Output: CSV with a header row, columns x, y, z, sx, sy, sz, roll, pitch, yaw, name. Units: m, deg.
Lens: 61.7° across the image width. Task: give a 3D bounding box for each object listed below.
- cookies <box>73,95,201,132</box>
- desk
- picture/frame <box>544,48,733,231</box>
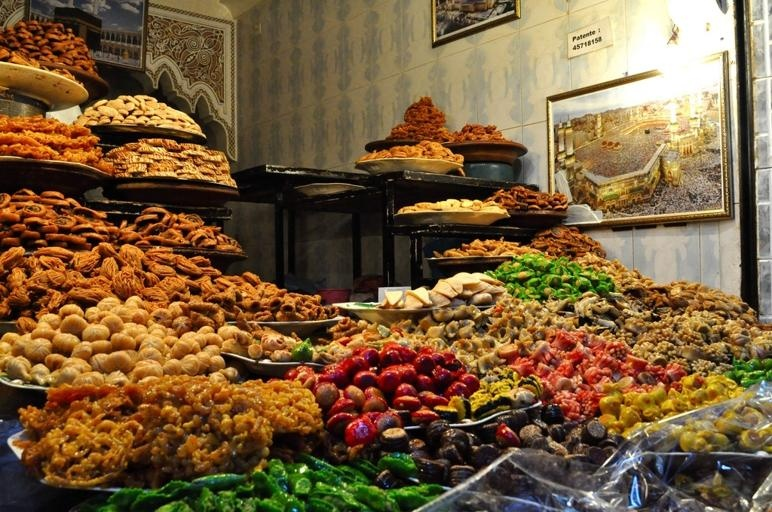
x,y,z,sx,sy,sz,roll,pitch,yaw,name
-1.730,-0.987,4.513,0.490,0.147,0.476,2,-3,-5,cookies
-0.310,-0.234,6.262,2.145,0.900,3.479,-3,1,-16,desk
2.224,-0.926,5.766,1.542,0.937,0.883,3,2,31,picture/frame
